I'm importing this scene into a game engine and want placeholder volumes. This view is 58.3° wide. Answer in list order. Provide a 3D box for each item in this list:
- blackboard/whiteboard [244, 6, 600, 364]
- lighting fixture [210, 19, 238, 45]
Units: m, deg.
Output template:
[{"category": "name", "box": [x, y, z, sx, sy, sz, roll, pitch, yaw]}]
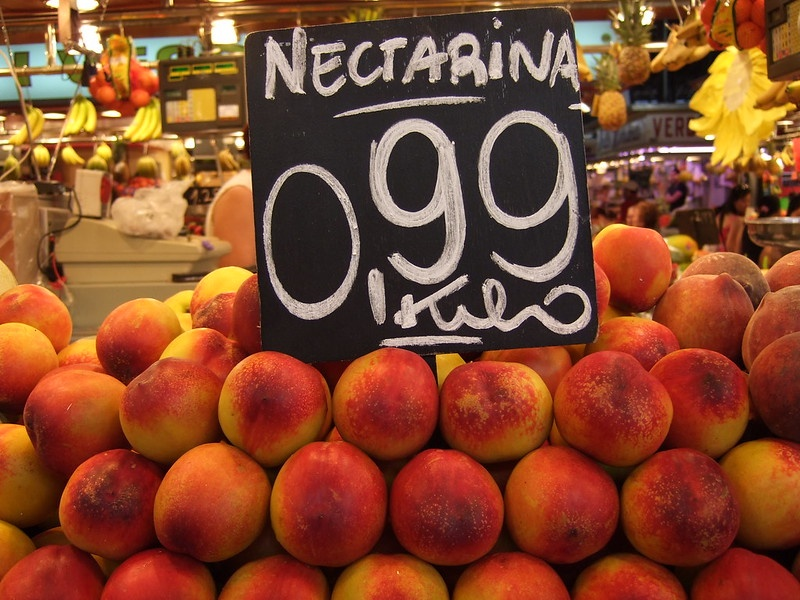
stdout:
[{"category": "blackboard/whiteboard", "box": [0.044, -0.239, 1.560, 0.587, 0.716, 0.031, -3, 1, -1]}, {"category": "lighting fixture", "box": [-1.258, -1.888, 5.081, 0.158, 0.171, 0.178, -3, 11, -6]}]
